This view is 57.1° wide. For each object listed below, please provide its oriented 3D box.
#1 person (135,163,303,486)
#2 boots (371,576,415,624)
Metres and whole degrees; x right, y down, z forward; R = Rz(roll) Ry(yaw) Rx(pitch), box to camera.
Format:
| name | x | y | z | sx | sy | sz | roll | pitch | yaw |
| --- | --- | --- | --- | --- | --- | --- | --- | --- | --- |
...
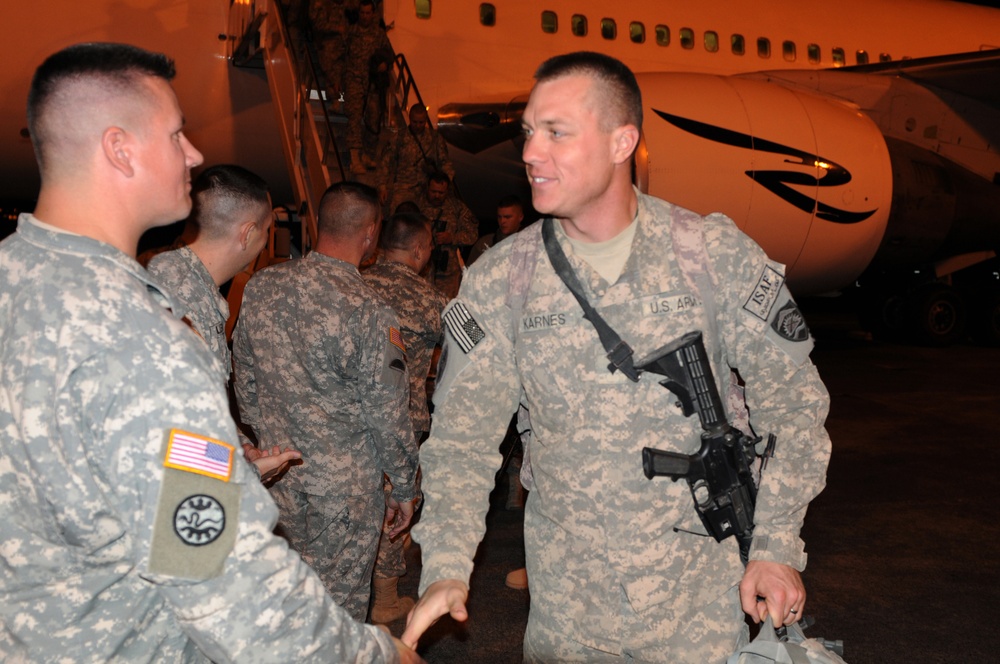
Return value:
| name | x | y | z | sx | sy | sz | roll | pitch | yaw |
| --- | --- | --- | --- | --- | --- | --- | --- | --- | --- |
| person | -1.315 | -0.020 | 4.446 | 0.889 | 1.504 | 0.780 | 3 | 27 | -15 |
| boots | -0.625 | 1.550 | 5.425 | 0.308 | 0.289 | 0.136 | -9 | 17 | -38 |
